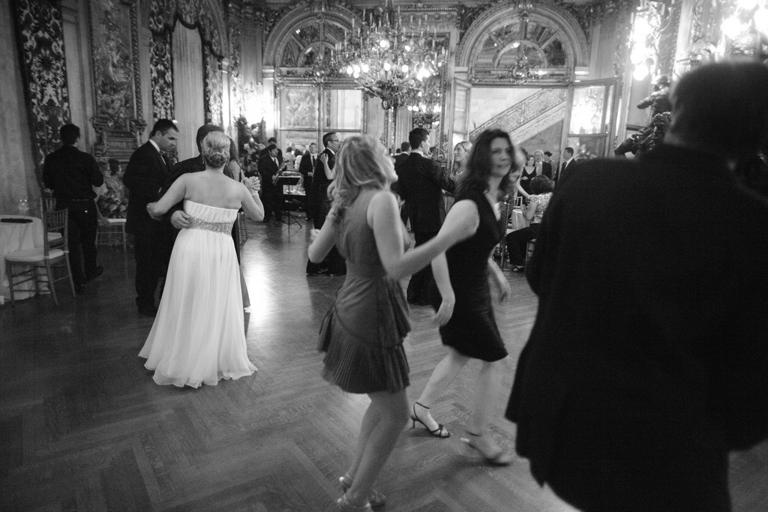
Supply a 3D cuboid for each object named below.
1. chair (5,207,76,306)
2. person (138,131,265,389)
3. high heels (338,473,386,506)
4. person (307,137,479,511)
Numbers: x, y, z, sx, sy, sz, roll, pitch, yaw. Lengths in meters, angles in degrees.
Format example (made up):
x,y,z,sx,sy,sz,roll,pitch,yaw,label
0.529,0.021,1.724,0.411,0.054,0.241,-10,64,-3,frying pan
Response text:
x,y,z,sx,sy,sz,roll,pitch,yaw,label
-3.964,-0.056,5.594,0.640,1.083,1.235,-8,17,-34,chair
-1.427,0.170,3.823,0.874,1.616,0.513,-2,14,-15,person
-0.090,1.352,2.801,0.308,0.133,0.112,33,-6,-41,high heels
-0.064,0.404,2.530,0.417,1.978,0.679,-9,18,-37,person
